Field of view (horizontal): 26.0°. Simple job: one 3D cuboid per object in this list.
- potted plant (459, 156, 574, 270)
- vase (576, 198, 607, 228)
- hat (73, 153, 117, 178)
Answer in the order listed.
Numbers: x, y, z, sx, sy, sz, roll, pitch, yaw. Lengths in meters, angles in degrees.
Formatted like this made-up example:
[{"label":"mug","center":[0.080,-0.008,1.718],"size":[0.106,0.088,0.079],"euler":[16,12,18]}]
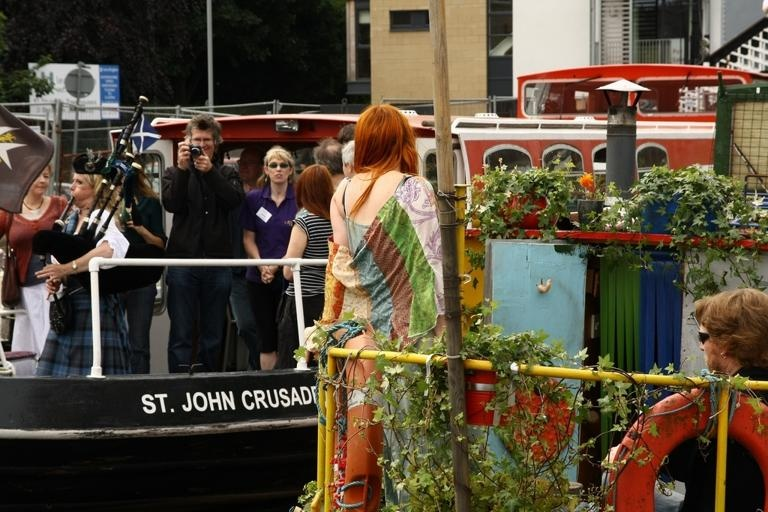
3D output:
[{"label":"potted plant","center":[1.432,-0.485,18.548],"size":[1.251,0.799,1.063],"euler":[0,-4,-13]},{"label":"vase","center":[2.216,-0.492,18.085],"size":[0.309,0.315,0.294],"euler":[1,-3,-4]},{"label":"hat","center":[-3.335,-1.051,18.913],"size":[0.365,0.169,0.283],"euler":[7,5,25]}]
